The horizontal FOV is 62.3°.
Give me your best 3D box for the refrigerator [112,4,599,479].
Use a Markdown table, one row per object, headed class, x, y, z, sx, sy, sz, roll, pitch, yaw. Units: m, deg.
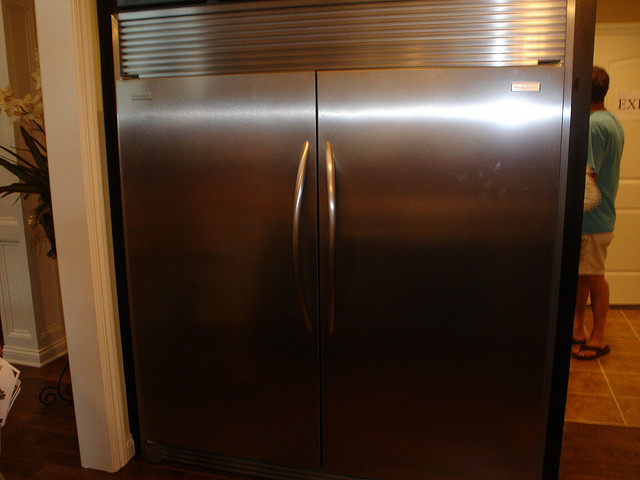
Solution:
| class | x | y | z | sx | sy | sz | roll | pitch | yaw |
| --- | --- | --- | --- | --- | --- | --- | --- | --- | --- |
| refrigerator | 0.149 | -0.043 | 2.312 | 2.013 | 2.172 | 0.849 | 1 | 7 | 10 |
